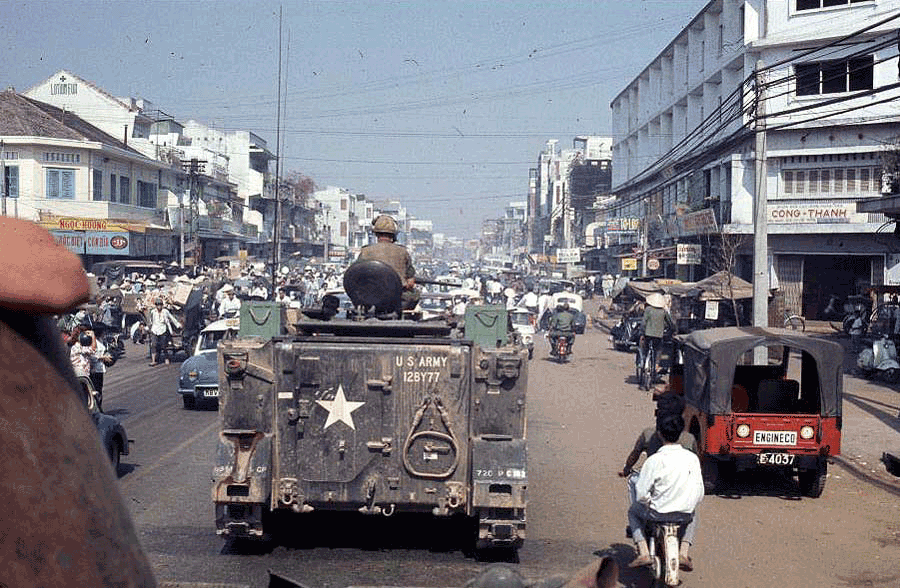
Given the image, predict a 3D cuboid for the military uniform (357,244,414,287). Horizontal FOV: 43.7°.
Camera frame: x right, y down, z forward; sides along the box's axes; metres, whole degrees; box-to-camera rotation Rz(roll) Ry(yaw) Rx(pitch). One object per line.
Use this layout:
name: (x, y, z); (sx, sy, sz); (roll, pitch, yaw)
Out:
military uniform: (-1.368, -0.585, 23.851); (1.275, 1.072, 0.742); (-2, -19, -3)

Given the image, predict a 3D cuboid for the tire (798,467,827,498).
tire: (7.928, 4.107, 24.538); (0.440, 0.711, 0.201); (3, 14, 25)

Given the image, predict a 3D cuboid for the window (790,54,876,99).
window: (14.864, -8.768, 43.400); (2.909, 1.687, 5.768); (1, 2, 20)

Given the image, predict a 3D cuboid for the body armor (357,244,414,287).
body armor: (-1.295, -0.771, 23.734); (1.375, 1.169, 0.775); (2, 9, -3)

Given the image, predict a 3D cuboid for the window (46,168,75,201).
window: (-18.982, -5.376, 54.659); (1.206, 1.237, 0.087); (-24, 9, -42)

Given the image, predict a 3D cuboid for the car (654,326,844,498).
car: (6.995, 2.382, 26.539); (2.817, 3.456, 5.226); (0, 6, 2)

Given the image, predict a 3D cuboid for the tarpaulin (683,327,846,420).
tarpaulin: (6.766, 2.257, 26.724); (4.124, 2.488, 4.381); (4, -8, -14)

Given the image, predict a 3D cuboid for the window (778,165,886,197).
window: (15.555, -4.628, 45.955); (3.604, 1.153, 0.250); (1, 2, 26)

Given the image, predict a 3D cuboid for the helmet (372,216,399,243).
helmet: (-1.371, -1.403, 24.088); (0.445, 0.587, 0.564); (0, 3, -1)

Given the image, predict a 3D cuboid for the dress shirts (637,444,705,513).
dress shirts: (4.326, 3.558, 21.676); (1.314, 1.334, 0.778); (-1, 6, -7)
